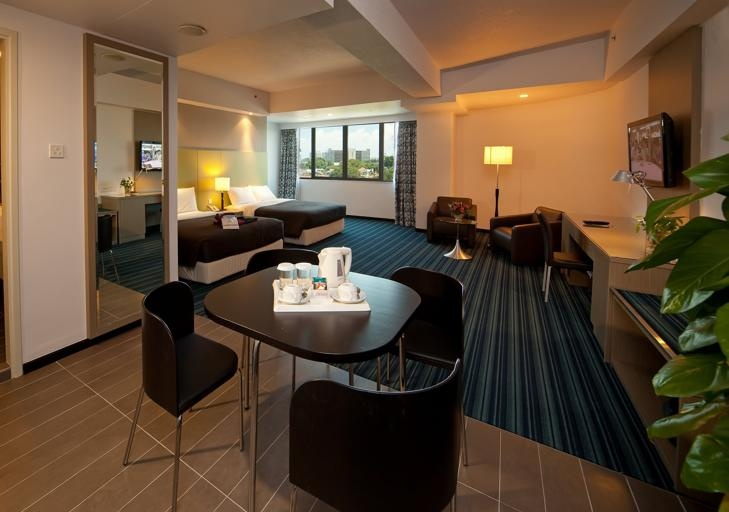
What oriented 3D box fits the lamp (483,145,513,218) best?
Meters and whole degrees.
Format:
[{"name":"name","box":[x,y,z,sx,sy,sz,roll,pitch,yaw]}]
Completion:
[{"name":"lamp","box":[2.188,-1.191,7.845,0.466,1.198,1.304,3,13,15]}]

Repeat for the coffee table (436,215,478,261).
[{"name":"coffee table","box":[1.414,-0.287,7.060,0.531,0.617,0.538,5,11,36]}]

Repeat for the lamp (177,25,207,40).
[{"name":"lamp","box":[-1.475,-1.929,4.072,0.227,0.059,0.234,-4,14,-19]}]

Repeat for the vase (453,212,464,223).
[{"name":"vase","box":[1.397,-0.562,6.976,0.130,0.139,0.180,-1,9,7]}]

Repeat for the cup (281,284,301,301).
[{"name":"cup","box":[-0.460,0.235,3.005,0.095,0.071,0.100,0,4,0]}]

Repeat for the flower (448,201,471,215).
[{"name":"flower","box":[1.481,-0.720,7.263,0.275,0.206,0.286,-4,8,-21]}]

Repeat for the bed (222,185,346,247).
[{"name":"bed","box":[-1.385,-0.723,8.009,1.318,0.671,1.381,7,14,26]}]

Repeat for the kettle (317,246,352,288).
[{"name":"kettle","box":[-0.198,0.067,3.305,0.247,0.275,0.201,0,6,-18]}]

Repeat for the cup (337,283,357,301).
[{"name":"cup","box":[-0.106,0.227,3.032,0.085,0.087,0.117,-1,4,-24]}]

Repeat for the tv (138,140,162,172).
[{"name":"tv","box":[-2.024,-0.938,4.446,0.041,0.343,0.282,6,7,42]}]

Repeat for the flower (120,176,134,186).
[{"name":"flower","box":[-2.159,-0.676,4.312,0.065,0.057,0.068,-3,-2,8]}]

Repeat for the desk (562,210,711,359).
[{"name":"desk","box":[1.946,0.235,3.449,0.330,0.465,1.224,-1,13,7]}]

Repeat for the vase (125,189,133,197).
[{"name":"vase","box":[-2.157,-0.577,4.337,0.045,0.063,0.085,-4,10,-23]}]
